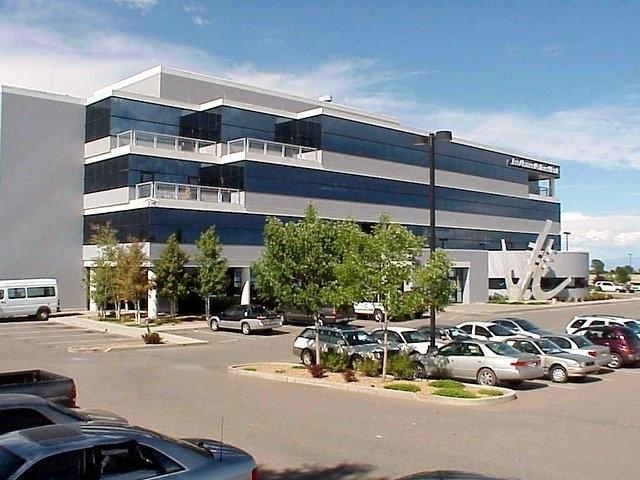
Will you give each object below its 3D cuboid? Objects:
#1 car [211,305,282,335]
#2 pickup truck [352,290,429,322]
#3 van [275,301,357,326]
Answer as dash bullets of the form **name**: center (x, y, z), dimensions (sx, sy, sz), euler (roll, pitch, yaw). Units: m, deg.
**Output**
- **car**: center (-4.420, 4.534, 37.637), dimensions (3.194, 1.678, 3.332), euler (-4, -3, 45)
- **pickup truck**: center (3.920, 4.731, 43.481), dimensions (5.357, 2.075, 2.633), euler (1, -1, 44)
- **van**: center (-0.582, 5.007, 40.628), dimensions (4.696, 1.615, 2.370), euler (1, -2, 31)
